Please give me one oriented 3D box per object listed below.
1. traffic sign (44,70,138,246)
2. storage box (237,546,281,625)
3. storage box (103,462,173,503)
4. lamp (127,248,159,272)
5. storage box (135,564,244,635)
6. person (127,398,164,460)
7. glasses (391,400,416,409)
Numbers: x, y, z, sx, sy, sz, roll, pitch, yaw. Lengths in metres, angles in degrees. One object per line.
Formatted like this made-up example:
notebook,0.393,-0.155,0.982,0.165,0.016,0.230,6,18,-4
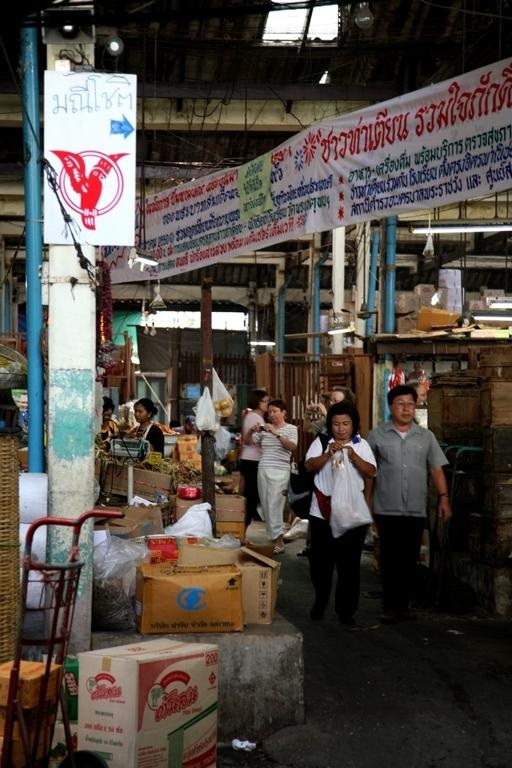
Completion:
traffic sign,-0.854,-1.163,4.072,0.457,0.908,0.097,-1,0,-3
storage box,0.016,1.057,4.086,0.216,0.321,0.239,1,4,-7
storage box,-1.267,1.024,8.279,0.776,0.438,0.641,-1,0,-21
lamp,-1.171,-1.251,8.038,0.300,0.215,0.214,6,-12,-44
storage box,-0.328,1.005,3.885,0.437,0.328,0.405,0,-1,-6
person,-1.139,0.481,8.650,0.387,0.749,0.368,6,0,-29
glasses,1.027,0.147,5.519,0.147,0.047,0.090,-1,0,12
